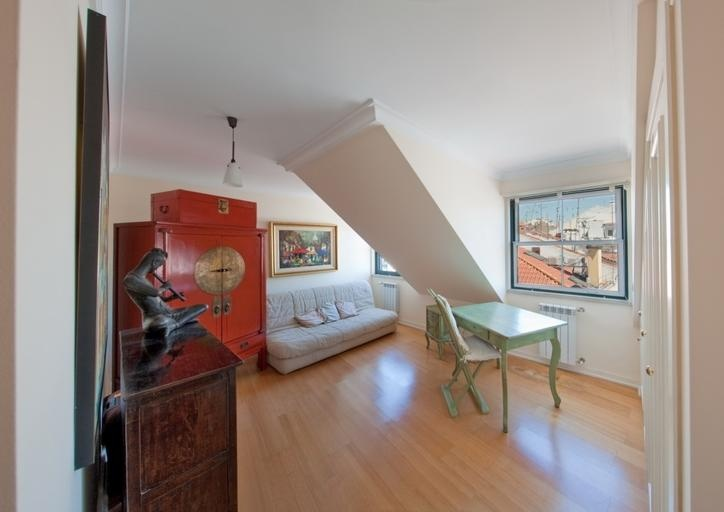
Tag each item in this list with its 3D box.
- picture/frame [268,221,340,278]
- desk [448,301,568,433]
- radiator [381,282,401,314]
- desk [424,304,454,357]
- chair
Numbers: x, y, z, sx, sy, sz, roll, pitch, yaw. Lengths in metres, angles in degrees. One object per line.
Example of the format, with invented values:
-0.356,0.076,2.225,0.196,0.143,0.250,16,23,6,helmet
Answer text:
-0.748,-0.092,5.898,0.953,0.628,0.016,-1,0,27,picture/frame
1.193,0.844,3.961,0.679,0.695,0.949,-9,10,-26,desk
0.402,0.574,6.262,0.059,0.436,0.369,-3,-2,-29,radiator
0.858,0.786,4.977,0.276,0.478,0.333,-5,11,-20,desk
0.862,0.775,3.777,0.557,0.928,0.495,-6,15,-18,chair
